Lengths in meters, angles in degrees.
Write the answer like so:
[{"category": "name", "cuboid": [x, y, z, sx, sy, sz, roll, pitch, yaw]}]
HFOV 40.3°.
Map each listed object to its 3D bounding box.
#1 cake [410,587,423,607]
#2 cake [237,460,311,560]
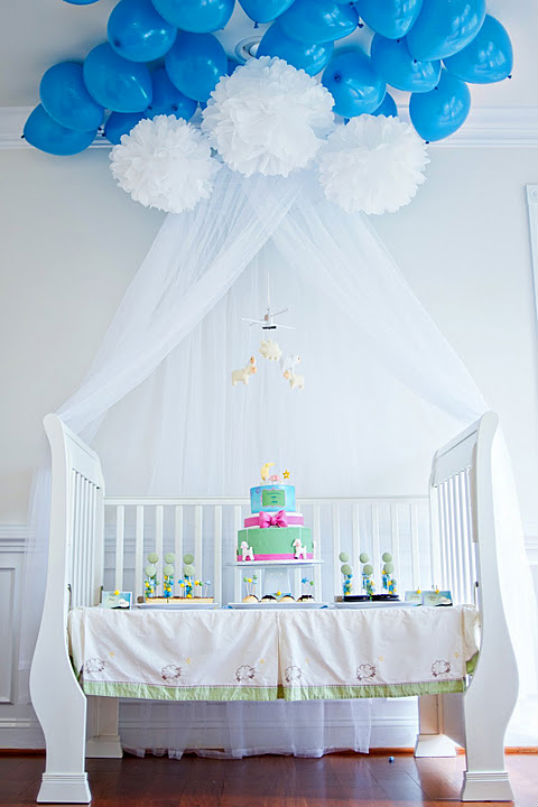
[{"category": "cake", "cuboid": [0.496, 0.663, 2.512, 0.052, 0.055, 0.041, -1, -29, 7]}, {"category": "cake", "cuboid": [0.020, 0.455, 2.764, 0.286, 0.315, 0.317, -1, -15, -2]}]
